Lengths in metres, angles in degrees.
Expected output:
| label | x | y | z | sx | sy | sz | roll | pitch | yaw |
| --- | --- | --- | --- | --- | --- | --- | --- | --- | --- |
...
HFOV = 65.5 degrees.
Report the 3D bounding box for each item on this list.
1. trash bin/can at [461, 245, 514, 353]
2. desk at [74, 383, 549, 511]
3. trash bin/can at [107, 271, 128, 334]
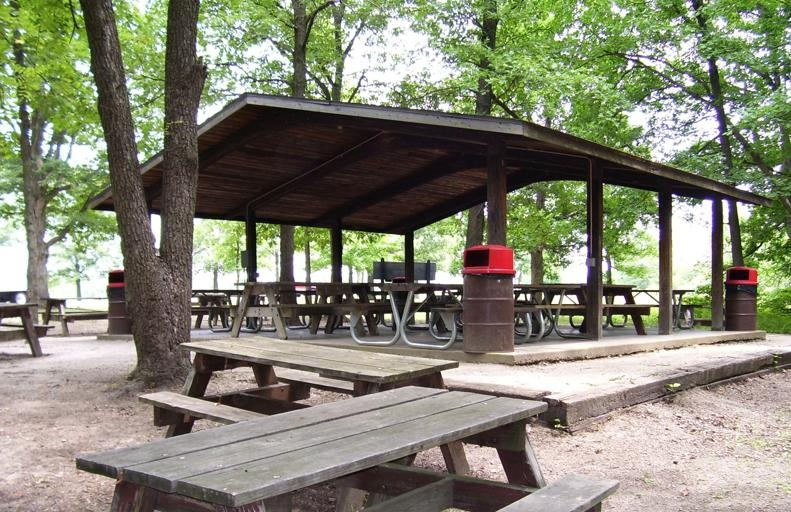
| label | x | y | z | sx | sy | sz | roll | pitch | yaw |
| --- | --- | --- | --- | --- | --- | --- | --- | --- | --- |
| trash bin/can | 1.361 | 0.632 | 8.933 | 0.756 | 1.586 | 0.519 | 1 | 14 | 6 |
| desk | -0.493 | 1.589 | 4.563 | 3.175 | 0.745 | 0.828 | -5 | 14 | -24 |
| trash bin/can | -5.963 | 0.984 | 13.103 | 0.466 | 1.396 | 0.484 | -3 | 14 | -10 |
